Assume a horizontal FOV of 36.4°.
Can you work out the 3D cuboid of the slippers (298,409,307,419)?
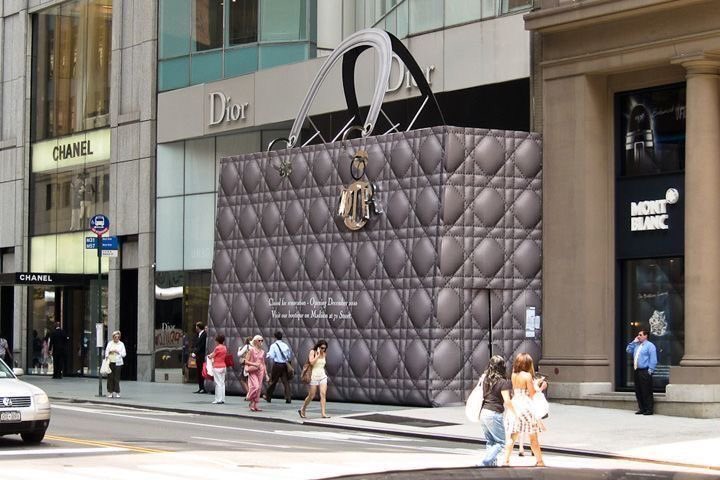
[{"bbox_3d":[-1.662,4.949,31.389,0.144,0.391,0.141,-19,-47,14],"label":"slippers"}]

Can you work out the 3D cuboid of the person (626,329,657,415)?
[{"bbox_3d":[8.376,3.882,31.894,0.634,2.400,0.744,-4,-8,14],"label":"person"}]

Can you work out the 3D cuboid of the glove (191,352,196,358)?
[{"bbox_3d":[-5.939,4.097,38.981,0.203,0.200,0.220,3,-30,-6],"label":"glove"}]

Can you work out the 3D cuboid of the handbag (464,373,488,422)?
[{"bbox_3d":[2.551,3.525,23.643,0.363,1.257,0.169,-9,-43,32],"label":"handbag"}]

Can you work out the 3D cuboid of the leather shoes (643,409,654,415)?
[{"bbox_3d":[8.470,5.000,31.699,0.356,0.125,0.145,4,-11,-33],"label":"leather shoes"}]

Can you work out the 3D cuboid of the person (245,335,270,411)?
[{"bbox_3d":[-3.194,4.047,33.303,0.574,2.357,1.402,-1,-8,-7],"label":"person"}]

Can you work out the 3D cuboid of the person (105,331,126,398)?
[{"bbox_3d":[-8.211,4.181,36.514,0.603,2.159,1.550,0,-9,-13],"label":"person"}]

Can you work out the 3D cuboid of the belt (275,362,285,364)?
[{"bbox_3d":[-2.439,3.815,33.863,0.284,0.050,0.038,-1,-8,-7],"label":"belt"}]

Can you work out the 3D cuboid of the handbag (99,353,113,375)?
[{"bbox_3d":[-8.469,4.151,36.306,0.320,0.610,0.544,0,-9,-13],"label":"handbag"}]

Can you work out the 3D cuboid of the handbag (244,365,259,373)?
[{"bbox_3d":[-3.269,3.936,33.388,0.389,0.215,0.180,-2,-8,1],"label":"handbag"}]

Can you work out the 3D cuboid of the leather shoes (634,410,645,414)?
[{"bbox_3d":[8.140,5.010,31.815,0.222,0.144,0.367,-1,-9,-8],"label":"leather shoes"}]

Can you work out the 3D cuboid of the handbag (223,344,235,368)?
[{"bbox_3d":[-4.309,3.853,36.048,0.337,0.771,0.719,-2,-10,-14],"label":"handbag"}]

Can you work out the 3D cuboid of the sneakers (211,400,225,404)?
[{"bbox_3d":[-4.547,5.164,34.882,0.378,0.162,0.133,2,-7,18],"label":"sneakers"}]

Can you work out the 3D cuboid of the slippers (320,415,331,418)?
[{"bbox_3d":[-0.990,5.050,31.092,0.173,0.068,0.099,-7,-9,21],"label":"slippers"}]

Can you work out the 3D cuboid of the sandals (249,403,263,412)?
[{"bbox_3d":[-3.159,5.057,32.910,0.174,0.242,0.552,2,-14,-21],"label":"sandals"}]
